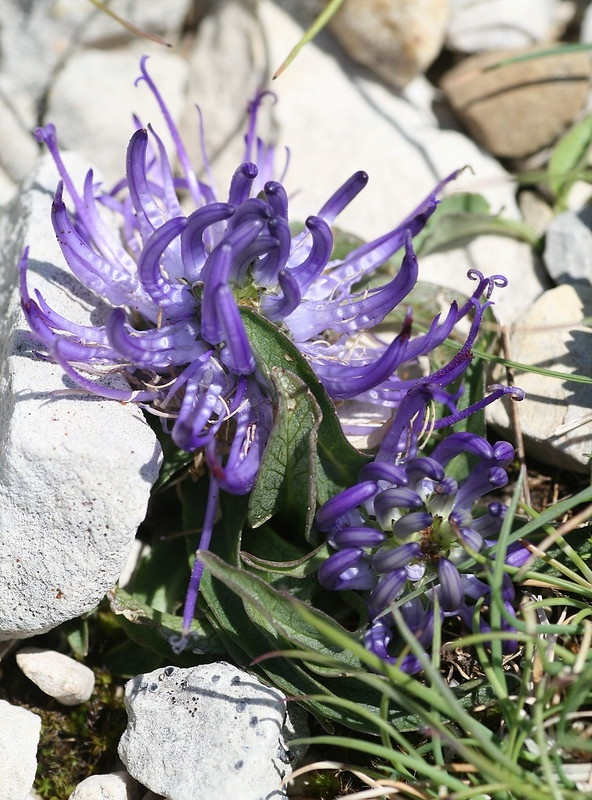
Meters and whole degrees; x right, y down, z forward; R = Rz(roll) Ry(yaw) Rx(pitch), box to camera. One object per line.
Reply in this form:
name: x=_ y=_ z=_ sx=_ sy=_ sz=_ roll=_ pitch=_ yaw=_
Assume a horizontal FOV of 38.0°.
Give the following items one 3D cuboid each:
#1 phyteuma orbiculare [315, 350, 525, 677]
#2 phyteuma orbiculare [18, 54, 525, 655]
phyteuma orbiculare: x=0.111 y=0.157 z=1.210 sx=0.159 sy=0.290 sz=0.383 roll=38 pitch=30 yaw=23
phyteuma orbiculare: x=-0.101 y=-0.134 z=1.270 sx=0.799 sy=0.278 sz=0.696 roll=-8 pitch=39 yaw=-14
